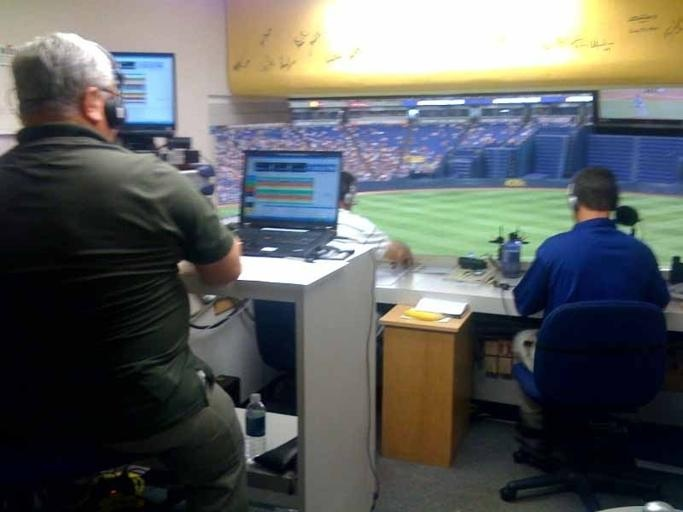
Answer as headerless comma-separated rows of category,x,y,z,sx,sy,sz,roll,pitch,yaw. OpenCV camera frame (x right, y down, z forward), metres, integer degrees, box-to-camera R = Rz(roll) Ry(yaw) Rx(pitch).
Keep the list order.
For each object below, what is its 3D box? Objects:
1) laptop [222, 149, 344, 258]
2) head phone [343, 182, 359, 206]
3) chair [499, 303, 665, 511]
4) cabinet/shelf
laptop,-0.283,-0.290,2.519,0.557,0.367,0.533,4,22,11
head phone,0.054,-0.351,3.317,0.056,0.144,0.108,0,20,6
chair,1.079,0.585,2.569,0.624,0.960,0.592,2,15,23
cabinet/shelf,0.430,0.640,2.974,0.458,0.731,0.438,-1,14,14
